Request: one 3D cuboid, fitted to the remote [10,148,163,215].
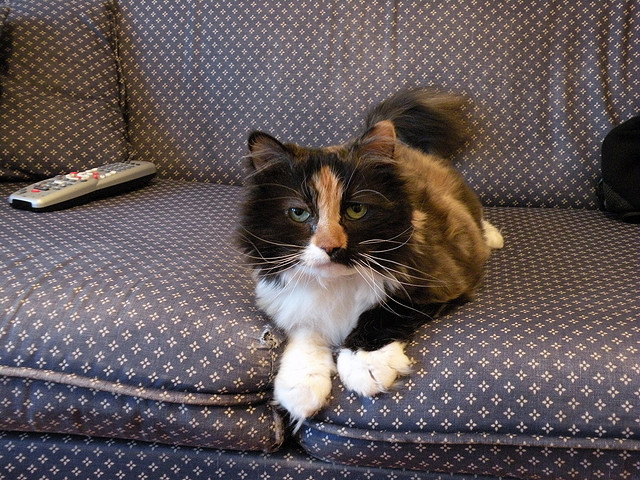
[{"bbox_3d":[-0.790,-0.192,2.017,0.191,0.085,0.433,17,26,34],"label":"remote"}]

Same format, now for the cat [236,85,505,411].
[{"bbox_3d":[-0.050,-0.075,1.823,0.788,0.576,1.237,2,21,-5],"label":"cat"}]
